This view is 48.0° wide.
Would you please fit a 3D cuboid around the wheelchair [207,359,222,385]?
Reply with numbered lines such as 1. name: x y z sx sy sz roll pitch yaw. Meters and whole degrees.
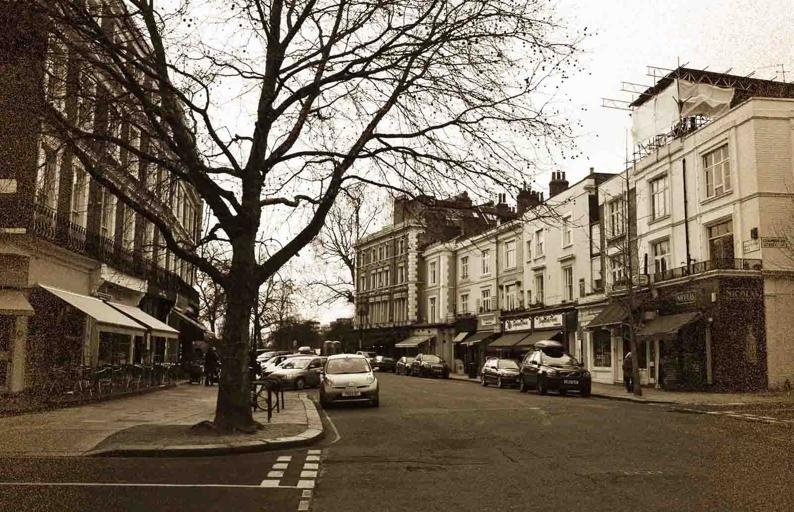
1. wheelchair: -9.273 5.908 45.058 0.611 1.346 2.274 -1 -15 -9

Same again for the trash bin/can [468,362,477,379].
1. trash bin/can: 5.466 7.965 61.810 0.859 1.164 0.832 7 -11 -36
